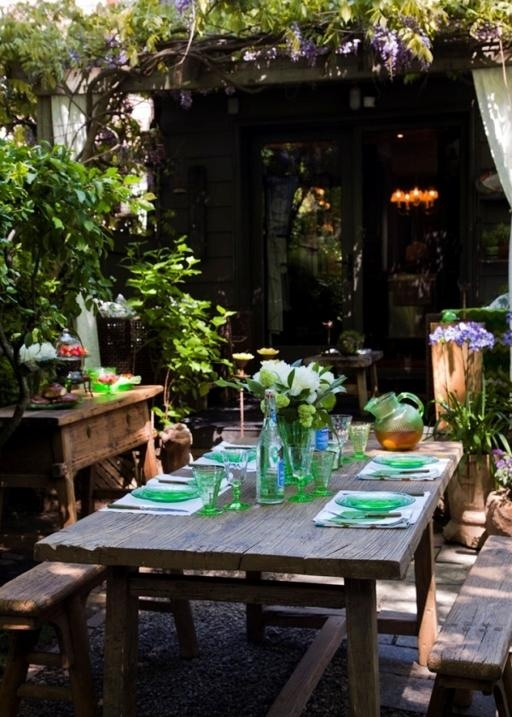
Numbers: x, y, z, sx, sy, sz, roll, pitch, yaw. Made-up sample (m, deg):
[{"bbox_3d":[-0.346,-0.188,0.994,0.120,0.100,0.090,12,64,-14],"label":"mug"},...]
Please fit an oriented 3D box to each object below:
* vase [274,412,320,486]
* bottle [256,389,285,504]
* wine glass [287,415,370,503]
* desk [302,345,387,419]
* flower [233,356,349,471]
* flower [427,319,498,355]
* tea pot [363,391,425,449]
[{"bbox_3d":[0.105,0.223,1.513,0.098,0.190,0.100,-1,4,-2],"label":"vase"},{"bbox_3d":[0.035,0.202,1.406,0.077,0.254,0.075,-1,-1,0],"label":"bottle"},{"bbox_3d":[0.155,0.265,1.503,0.095,0.246,0.098,3,5,42],"label":"wine glass"},{"bbox_3d":[0.809,0.161,5.263,0.699,0.662,0.653,0,2,11],"label":"desk"},{"bbox_3d":[0.076,0.093,1.558,0.241,0.309,0.276,5,8,18],"label":"flower"},{"bbox_3d":[1.206,-0.121,3.515,0.351,0.179,0.199,0,7,25],"label":"flower"},{"bbox_3d":[0.473,0.213,2.095,0.192,0.220,0.208,3,6,0],"label":"tea pot"}]
